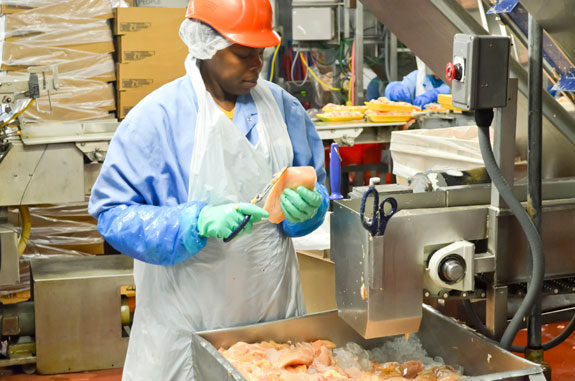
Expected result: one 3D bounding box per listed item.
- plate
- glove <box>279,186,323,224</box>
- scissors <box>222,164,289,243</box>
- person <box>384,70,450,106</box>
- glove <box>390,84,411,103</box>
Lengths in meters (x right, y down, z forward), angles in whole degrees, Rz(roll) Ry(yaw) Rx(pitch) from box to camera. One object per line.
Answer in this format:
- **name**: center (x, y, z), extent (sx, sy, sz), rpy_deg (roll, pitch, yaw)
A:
- **plate**: center (0.652, -0.629, 5.696), extent (0.851, 0.184, 0.551), rpy_deg (-4, 12, 13)
- **glove**: center (0.054, 0.057, 2.753), extent (0.119, 0.164, 0.074), rpy_deg (34, 16, -26)
- **scissors**: center (-0.139, 0.043, 2.761), extent (0.033, 0.320, 0.077), rpy_deg (43, -14, -34)
- **person**: center (1.116, -0.868, 5.999), extent (0.560, 0.339, 0.774), rpy_deg (2, 12, 10)
- **glove**: center (1.050, -0.954, 6.578), extent (0.160, 0.107, 0.224), rpy_deg (3, 20, -27)
